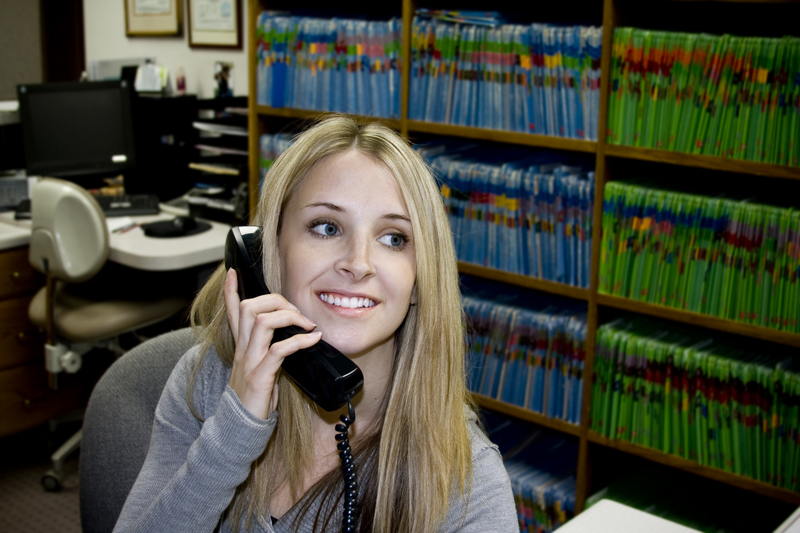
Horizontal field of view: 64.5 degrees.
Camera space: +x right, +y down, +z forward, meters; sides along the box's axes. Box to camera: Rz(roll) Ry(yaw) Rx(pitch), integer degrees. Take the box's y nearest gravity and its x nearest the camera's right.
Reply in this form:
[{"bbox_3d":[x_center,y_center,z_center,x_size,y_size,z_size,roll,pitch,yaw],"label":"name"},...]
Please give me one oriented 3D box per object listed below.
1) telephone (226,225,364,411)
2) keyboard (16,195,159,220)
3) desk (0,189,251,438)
[{"bbox_3d":[-0.222,0.125,1.416,0.102,0.138,0.502,-35,60,-22],"label":"telephone"},{"bbox_3d":[-1.641,-0.346,3.584,0.491,0.052,0.286,0,28,-4],"label":"keyboard"},{"bbox_3d":[-1.362,-0.024,3.305,1.003,1.172,0.929,21,30,30],"label":"desk"}]
